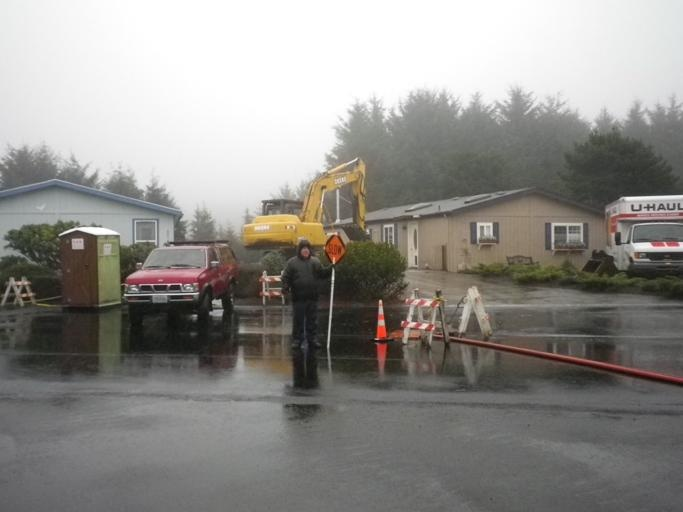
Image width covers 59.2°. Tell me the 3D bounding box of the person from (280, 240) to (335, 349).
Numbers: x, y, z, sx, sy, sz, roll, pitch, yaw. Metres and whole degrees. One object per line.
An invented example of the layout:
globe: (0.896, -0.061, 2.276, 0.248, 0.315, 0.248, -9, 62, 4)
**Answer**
person: (-0.745, 0.743, 12.162, 0.891, 2.158, 0.870, 0, 4, -2)

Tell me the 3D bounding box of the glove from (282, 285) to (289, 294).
glove: (-1.124, 0.667, 11.893, 0.121, 0.136, 0.214, -2, 3, -10)

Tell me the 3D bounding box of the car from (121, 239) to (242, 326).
car: (-4.190, 0.707, 16.065, 1.994, 2.039, 3.249, 1, 5, 3)
